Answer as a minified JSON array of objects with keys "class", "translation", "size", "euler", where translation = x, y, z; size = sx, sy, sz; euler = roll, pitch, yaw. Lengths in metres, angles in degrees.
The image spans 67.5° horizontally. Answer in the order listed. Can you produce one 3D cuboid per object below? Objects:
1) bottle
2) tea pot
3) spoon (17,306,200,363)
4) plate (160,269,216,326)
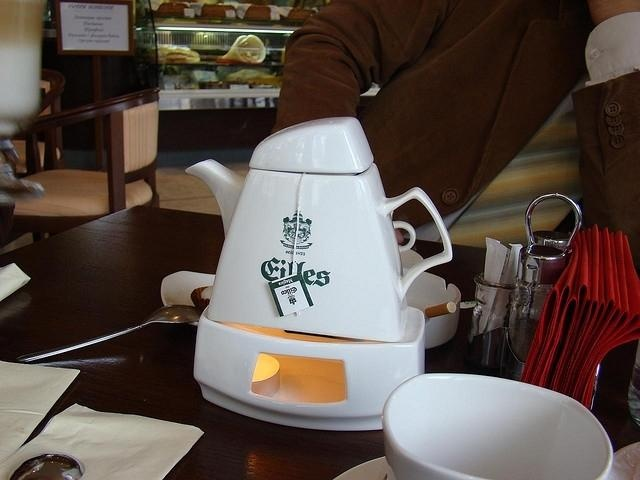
[{"class":"bottle","translation":[0.245,0.040,0.524],"size":[0.058,0.182,0.178],"euler":[10,17,23]},{"class":"tea pot","translation":[0.000,0.001,0.528],"size":[0.328,0.251,0.184],"euler":[7,13,9]},{"class":"spoon","translation":[-0.242,0.110,0.583],"size":[0.207,0.015,0.075],"euler":[-20,25,-38]},{"class":"plate","translation":[-0.188,0.077,0.681],"size":[0.046,0.037,0.079],"euler":[6,1,23]}]
